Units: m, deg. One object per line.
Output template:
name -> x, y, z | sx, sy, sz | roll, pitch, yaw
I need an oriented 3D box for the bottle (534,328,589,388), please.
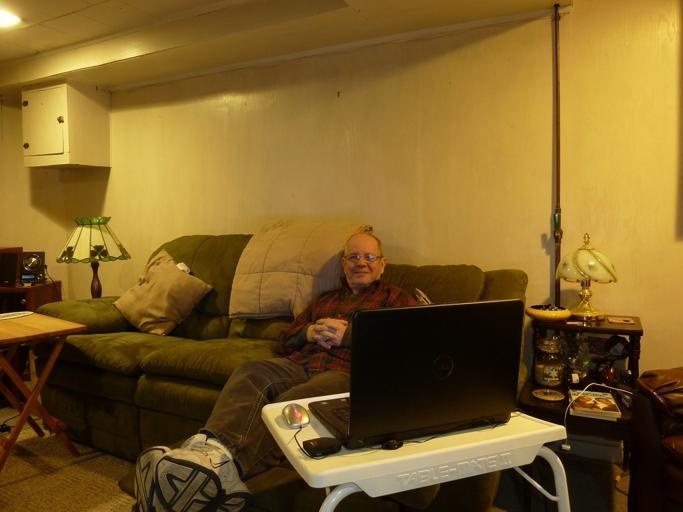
bottle -> 1.176, 0.537, 2.963 | 0.264, 0.308, 0.278 | 1, -4, -11

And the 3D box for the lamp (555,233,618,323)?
lamp -> 1.333, 0.110, 3.043 | 0.290, 0.449, 0.341 | 0, 4, 21

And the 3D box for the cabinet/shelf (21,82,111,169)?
cabinet/shelf -> -2.448, -1.140, 5.002 | 0.730, 0.713, 0.595 | 4, 6, 22

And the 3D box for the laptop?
laptop -> 0.283, 0.256, 1.937 | 0.655, 0.510, 0.476 | -1, 6, -20
